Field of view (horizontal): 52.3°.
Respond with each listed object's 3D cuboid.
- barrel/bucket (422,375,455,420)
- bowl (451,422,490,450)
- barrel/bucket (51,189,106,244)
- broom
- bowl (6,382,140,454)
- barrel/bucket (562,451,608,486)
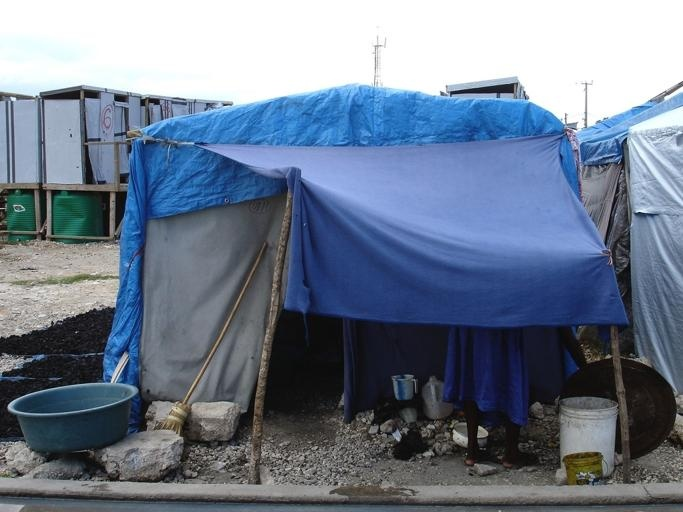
[{"bbox_3d":[0.866,1.307,6.378,0.248,0.358,0.122,-18,-11,19],"label":"barrel/bucket"},{"bbox_3d":[1.099,1.553,5.985,0.219,0.091,0.230,-1,2,0],"label":"bowl"},{"bbox_3d":[-6.121,-0.880,16.237,1.101,1.316,1.140,1,3,0],"label":"barrel/bucket"},{"bbox_3d":[-1.096,0.727,6.245,0.308,1.964,0.210,29,-4,-31],"label":"broom"},{"bbox_3d":[-2.130,1.303,5.568,0.937,0.362,0.568,-3,12,-11],"label":"bowl"},{"bbox_3d":[1.857,1.654,5.325,0.262,0.253,0.291,-7,-7,6],"label":"barrel/bucket"}]
